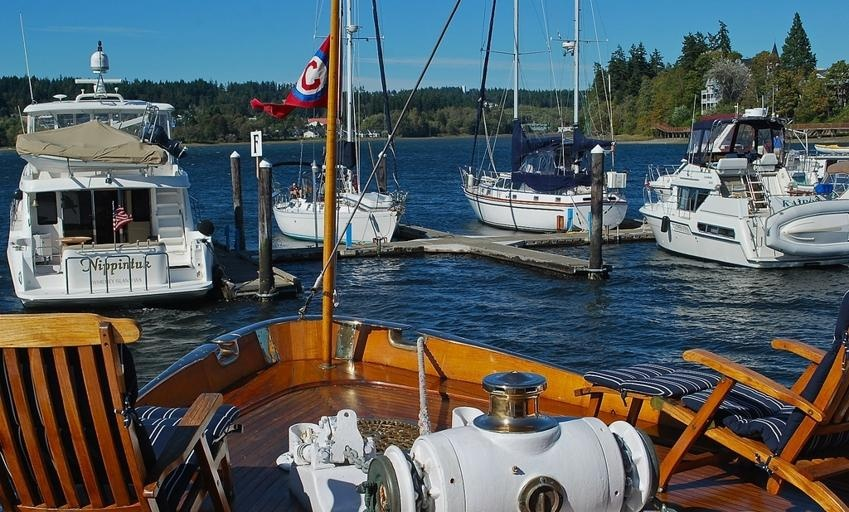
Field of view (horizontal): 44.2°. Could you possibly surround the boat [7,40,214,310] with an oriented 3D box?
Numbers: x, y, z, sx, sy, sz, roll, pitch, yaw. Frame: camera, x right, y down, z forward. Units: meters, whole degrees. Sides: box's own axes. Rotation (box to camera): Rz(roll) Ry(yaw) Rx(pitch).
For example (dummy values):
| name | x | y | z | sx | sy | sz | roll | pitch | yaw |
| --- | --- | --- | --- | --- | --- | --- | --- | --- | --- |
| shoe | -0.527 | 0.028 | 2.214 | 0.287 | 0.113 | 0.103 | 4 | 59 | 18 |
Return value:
| name | x | y | z | sx | sy | sz | roll | pitch | yaw |
| --- | --- | --- | --- | --- | --- | --- | --- | --- | --- |
| boat | -7.352 | -1.736 | 26.609 | 4.524 | 5.750 | 11.751 | -2 | 17 | -18 |
